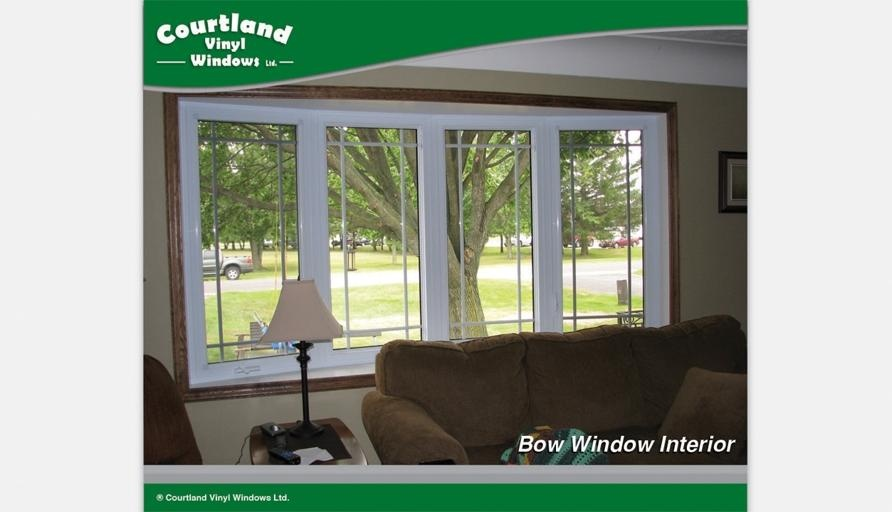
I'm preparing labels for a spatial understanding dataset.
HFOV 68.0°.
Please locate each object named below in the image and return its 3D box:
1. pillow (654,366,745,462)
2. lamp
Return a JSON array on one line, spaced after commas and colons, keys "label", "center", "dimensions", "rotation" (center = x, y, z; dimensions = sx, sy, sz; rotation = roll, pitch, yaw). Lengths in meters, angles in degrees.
[{"label": "pillow", "center": [1.334, 0.840, 3.451], "dimensions": [0.420, 0.455, 0.217], "rotation": [-2, 5, 17]}, {"label": "lamp", "center": [-0.710, 0.522, 3.378], "dimensions": [0.311, 0.791, 0.297], "rotation": [-1, 6, 29]}]
